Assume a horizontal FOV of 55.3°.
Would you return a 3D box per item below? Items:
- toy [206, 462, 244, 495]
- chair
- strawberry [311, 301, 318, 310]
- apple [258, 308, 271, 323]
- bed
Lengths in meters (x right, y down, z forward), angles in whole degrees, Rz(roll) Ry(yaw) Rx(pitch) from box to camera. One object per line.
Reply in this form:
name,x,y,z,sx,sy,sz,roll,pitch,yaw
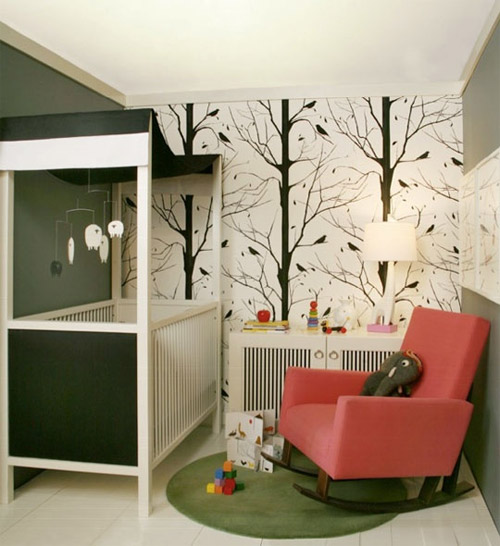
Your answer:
toy,-0.115,0.973,2.358,0.141,0.139,0.148,0,2,-23
chair,0.622,0.614,2.511,0.979,1.171,0.762,3,-4,-18
strawberry,0.429,0.215,3.187,0.042,0.056,0.041,-2,4,-39
apple,0.102,0.288,3.221,0.068,0.093,0.069,0,2,-17
bed,-0.714,0.393,2.569,0.646,0.816,1.293,0,1,12
